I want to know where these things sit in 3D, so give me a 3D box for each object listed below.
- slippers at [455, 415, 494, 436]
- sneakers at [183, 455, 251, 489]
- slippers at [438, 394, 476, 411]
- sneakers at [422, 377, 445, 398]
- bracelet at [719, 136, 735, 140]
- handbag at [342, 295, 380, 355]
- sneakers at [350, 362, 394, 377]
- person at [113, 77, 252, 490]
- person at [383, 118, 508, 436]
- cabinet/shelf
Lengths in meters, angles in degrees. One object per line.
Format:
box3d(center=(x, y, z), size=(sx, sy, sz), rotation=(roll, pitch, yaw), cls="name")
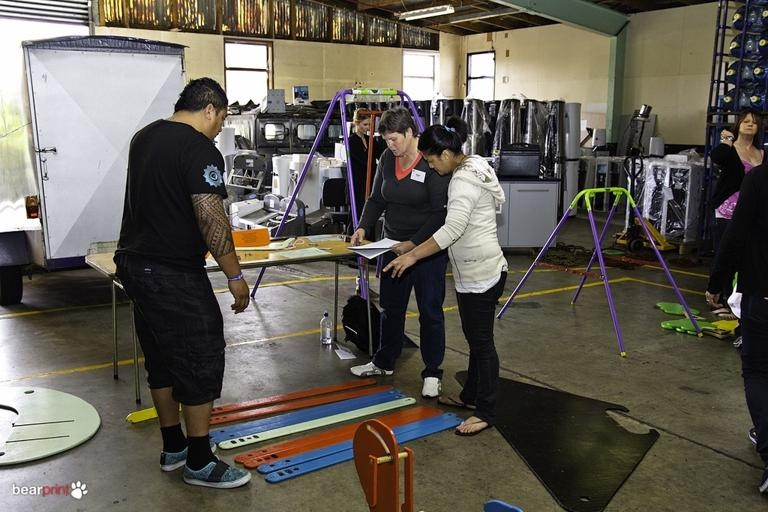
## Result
box3d(center=(0.604, 1.198, 3.575), size=(0.245, 0.057, 0.119), rotation=(-1, 2, -36), cls="slippers")
box3d(center=(-1.024, 1.330, 3.153), size=(0.379, 0.159, 0.173), rotation=(2, -1, -8), cls="sneakers")
box3d(center=(0.558, 1.108, 3.917), size=(0.269, 0.064, 0.105), rotation=(8, 9, 27), cls="slippers")
box3d(center=(0.367, 1.043, 4.052), size=(0.103, 0.087, 0.197), rotation=(0, -3, 9), cls="sneakers")
box3d(center=(4.141, -1.427, 6.160), size=(0.109, 0.042, 0.120), rotation=(0, 3, 4), cls="bracelet")
box3d(center=(-0.227, 0.652, 4.841), size=(0.189, 0.512, 0.369), rotation=(-19, -1, -45), cls="handbag")
box3d(center=(-0.115, 0.991, 4.477), size=(0.376, 0.147, 0.134), rotation=(4, -1, -2), cls="sneakers")
box3d(center=(-1.167, 0.204, 2.965), size=(0.717, 2.383, 0.522), rotation=(-4, 15, -14), cls="person")
box3d(center=(0.485, 0.166, 3.568), size=(0.713, 2.102, 0.544), rotation=(2, 15, 8), cls="person")
box3d(center=(2.520, -0.677, 9.014), size=(0.843, 1.093, 1.150), rotation=(1, -2, 8), cls="cabinet/shelf")
